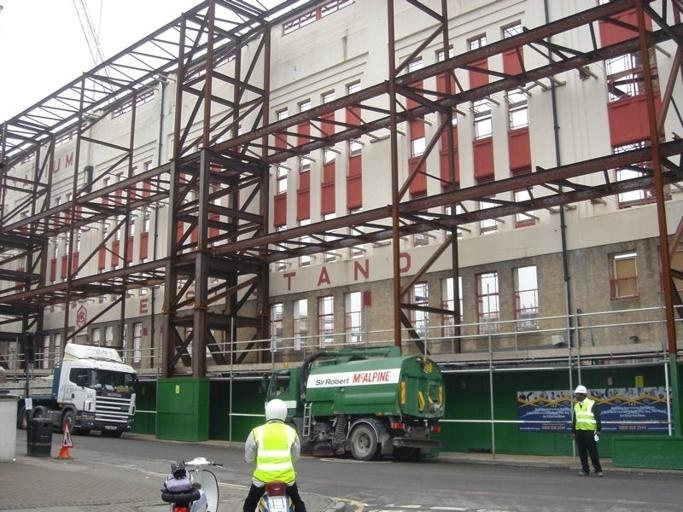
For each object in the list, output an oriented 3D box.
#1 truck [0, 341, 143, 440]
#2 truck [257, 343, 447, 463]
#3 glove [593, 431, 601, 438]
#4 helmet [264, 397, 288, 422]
[{"bbox_3d":[-11.677,6.019,37.700,4.209,3.998,2.226,-2,-15,-4],"label":"truck"},{"bbox_3d":[0.477,5.433,30.382,6.654,3.742,3.581,-9,-15,41],"label":"truck"},{"bbox_3d":[7.614,5.369,24.536,0.076,0.199,0.140,8,11,-21],"label":"glove"},{"bbox_3d":[-1.322,3.135,16.829,0.480,0.548,0.629,2,-6,-2],"label":"helmet"}]
